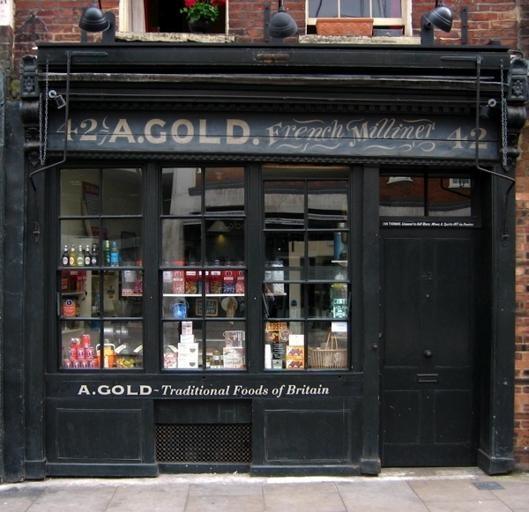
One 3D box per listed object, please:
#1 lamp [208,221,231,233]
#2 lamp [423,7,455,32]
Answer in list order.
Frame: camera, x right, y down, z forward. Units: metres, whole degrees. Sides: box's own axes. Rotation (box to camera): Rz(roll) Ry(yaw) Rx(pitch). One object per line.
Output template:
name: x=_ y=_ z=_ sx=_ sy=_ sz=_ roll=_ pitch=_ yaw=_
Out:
lamp: x=-0.501 y=-0.331 z=11.826 sx=0.161 sy=0.100 sz=0.170 roll=0 pitch=6 yaw=-1
lamp: x=1.909 y=-2.628 z=11.674 sx=0.324 sy=0.306 sz=0.382 roll=-2 pitch=-1 yaw=9
